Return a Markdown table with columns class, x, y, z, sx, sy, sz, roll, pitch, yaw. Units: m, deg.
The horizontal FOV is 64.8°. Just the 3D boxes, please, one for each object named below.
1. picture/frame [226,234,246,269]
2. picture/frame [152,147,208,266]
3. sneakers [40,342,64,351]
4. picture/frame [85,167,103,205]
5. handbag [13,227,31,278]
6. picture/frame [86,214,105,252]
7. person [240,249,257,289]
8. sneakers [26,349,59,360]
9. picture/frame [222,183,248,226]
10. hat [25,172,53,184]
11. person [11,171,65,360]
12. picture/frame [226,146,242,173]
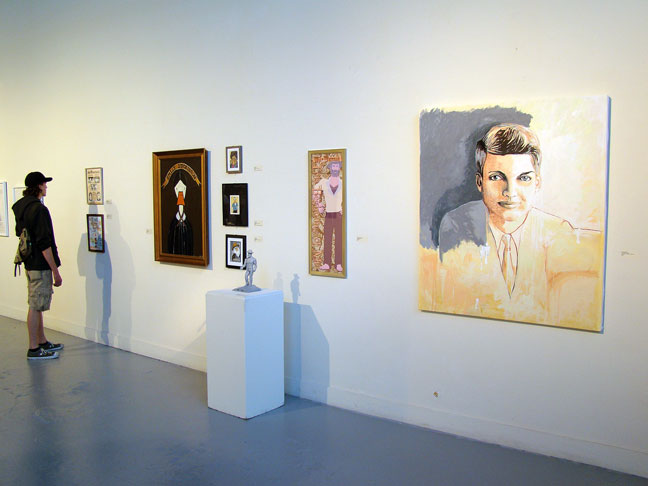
| class | x | y | z | sx | sy | sz | roll | pitch | yaw |
| --- | --- | --- | --- | --- | --- | --- | --- | --- | --- |
| picture/frame | -1.089 | 0.091 | 6.388 | 0.338 | 0.450 | 0.028 | 7 | 7 | 38 |
| picture/frame | -1.916 | -0.495 | 6.843 | 1.033 | 1.517 | 0.196 | 5 | 10 | 32 |
| sneakers | -3.872 | 1.471 | 7.283 | 0.257 | 0.134 | 0.097 | 4 | 6 | -29 |
| picture/frame | -3.499 | -0.895 | 7.832 | 0.347 | 0.577 | 0.050 | 1 | 4 | 27 |
| handbag | -4.135 | 0.038 | 7.015 | 0.167 | 0.509 | 0.396 | -8 | 12 | -39 |
| picture/frame | -3.496 | -0.177 | 7.858 | 0.443 | 0.661 | 0.039 | 9 | 16 | 35 |
| person | -0.867 | 0.301 | 5.938 | 0.165 | 0.507 | 0.734 | -1 | 10 | -6 |
| sneakers | -3.873 | 1.497 | 7.127 | 0.435 | 0.221 | 0.170 | 4 | 2 | -22 |
| picture/frame | -1.096 | -0.501 | 6.366 | 0.413 | 0.606 | 0.037 | 7 | 12 | 39 |
| hat | -4.113 | -0.959 | 7.407 | 0.308 | 0.189 | 0.205 | -20 | 27 | -35 |
| person | -3.956 | 0.319 | 7.078 | 0.516 | 2.575 | 0.628 | -6 | 10 | -34 |
| picture/frame | -1.106 | -1.053 | 6.321 | 0.266 | 0.433 | 0.033 | 4 | 6 | 37 |
